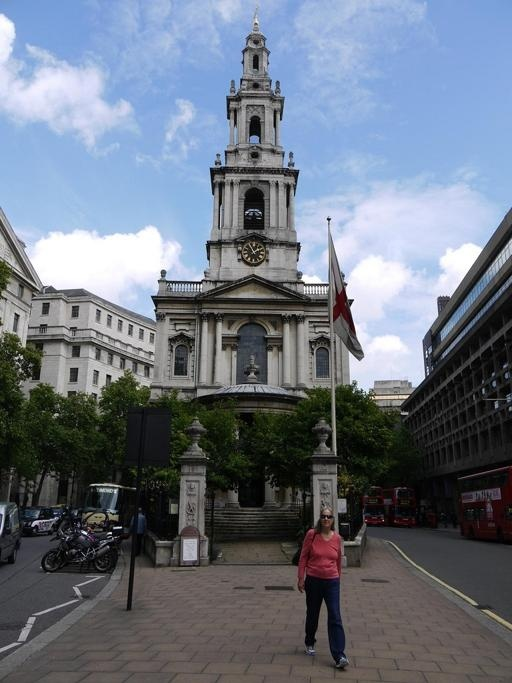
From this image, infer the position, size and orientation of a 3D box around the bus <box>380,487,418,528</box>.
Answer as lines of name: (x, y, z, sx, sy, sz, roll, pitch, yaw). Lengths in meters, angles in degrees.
bus: (14.294, 17.356, 54.851, 2.111, 2.800, 5.790, 1, -33, 4)

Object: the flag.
flag: (3.205, -1.684, 20.063, 0.837, 4.500, 2.492, -5, -16, 19)

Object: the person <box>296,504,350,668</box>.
person: (0.689, 2.557, 5.676, 0.498, 1.546, 1.095, -1, -15, 6)

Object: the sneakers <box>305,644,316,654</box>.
sneakers: (0.591, 3.285, 5.797, 0.068, 0.088, 0.199, 3, -8, 4)

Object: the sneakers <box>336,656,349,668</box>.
sneakers: (0.811, 3.056, 5.155, 0.090, 0.066, 0.188, 1, -19, -16)
